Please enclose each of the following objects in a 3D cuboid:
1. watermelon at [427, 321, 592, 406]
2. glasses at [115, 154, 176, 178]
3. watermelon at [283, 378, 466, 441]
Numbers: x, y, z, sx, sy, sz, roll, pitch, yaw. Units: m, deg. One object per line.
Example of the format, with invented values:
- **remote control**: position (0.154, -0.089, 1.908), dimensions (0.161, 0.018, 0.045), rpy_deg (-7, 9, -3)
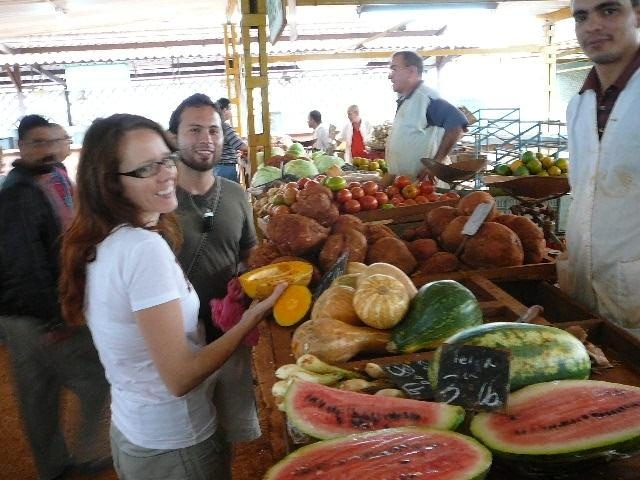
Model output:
- **watermelon**: position (0.596, 0.382, 1.557), dimensions (0.674, 0.237, 0.307), rpy_deg (2, 12, -27)
- **glasses**: position (-0.687, -0.285, 1.842), dimensions (0.156, 0.032, 0.148), rpy_deg (-16, -1, 34)
- **watermelon**: position (0.155, 0.528, 1.428), dimensions (0.546, 0.112, 0.174), rpy_deg (0, 5, 15)
